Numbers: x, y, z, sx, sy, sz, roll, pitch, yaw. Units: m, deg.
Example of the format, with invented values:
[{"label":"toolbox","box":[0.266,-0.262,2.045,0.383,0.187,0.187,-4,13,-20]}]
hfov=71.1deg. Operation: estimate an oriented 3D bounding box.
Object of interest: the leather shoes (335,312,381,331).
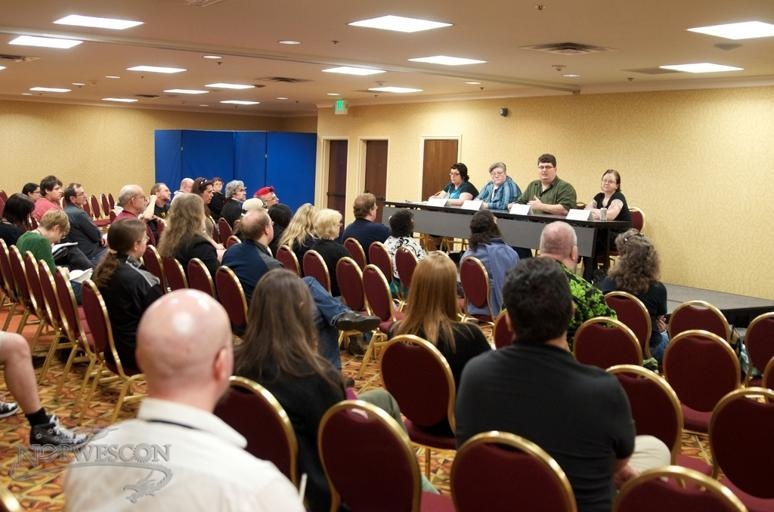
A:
[{"label":"leather shoes","box":[-0.205,0.509,4.245,0.387,0.138,0.279,3,-5,-14]}]
